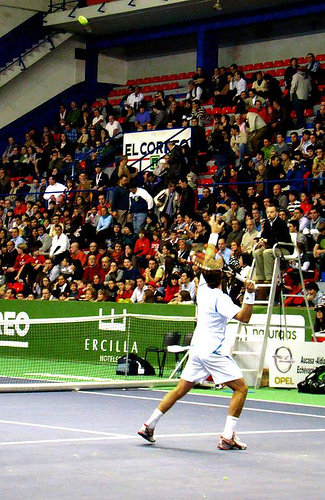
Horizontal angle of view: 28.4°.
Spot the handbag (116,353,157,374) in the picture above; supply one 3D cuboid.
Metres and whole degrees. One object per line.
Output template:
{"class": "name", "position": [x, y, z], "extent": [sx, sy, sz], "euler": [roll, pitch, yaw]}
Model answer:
{"class": "handbag", "position": [-0.560, 2.286, 12.937], "extent": [0.701, 0.299, 0.415], "euler": [1, -3, 4]}

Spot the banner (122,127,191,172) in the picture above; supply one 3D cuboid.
{"class": "banner", "position": [-0.192, -3.184, 20.711], "extent": [2.794, 1.500, 0.193], "euler": [4, 5, 36]}

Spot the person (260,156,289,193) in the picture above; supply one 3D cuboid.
{"class": "person", "position": [2.998, -2.002, 17.064], "extent": [0.672, 0.732, 0.527], "euler": [4, -2, -8]}

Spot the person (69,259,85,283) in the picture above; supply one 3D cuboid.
{"class": "person", "position": [-2.399, 0.583, 17.957], "extent": [0.370, 0.582, 0.790], "euler": [4, -2, -8]}
